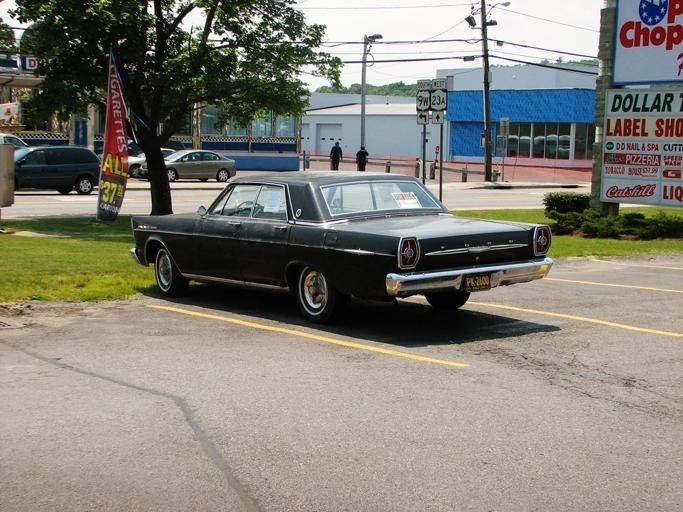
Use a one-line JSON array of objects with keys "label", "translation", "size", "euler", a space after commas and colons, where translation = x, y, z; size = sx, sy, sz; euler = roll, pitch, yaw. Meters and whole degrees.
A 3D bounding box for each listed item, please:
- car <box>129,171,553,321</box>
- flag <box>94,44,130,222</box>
[{"label": "car", "translation": [-0.144, -0.227, 8.334], "size": [5.484, 2.001, 1.952], "euler": [5, 8, 36]}, {"label": "flag", "translation": [-6.283, -3.213, 16.233], "size": [0.192, 4.747, 0.908], "euler": [7, 7, 11]}]
